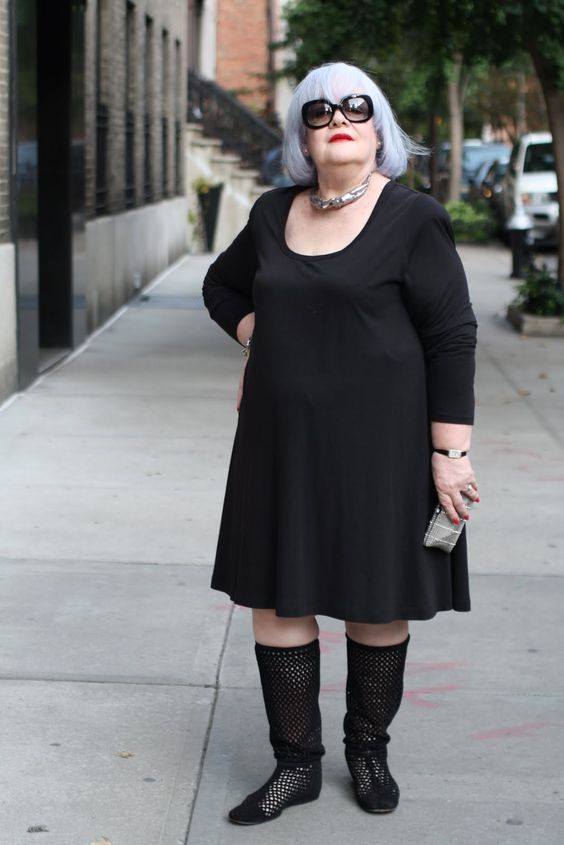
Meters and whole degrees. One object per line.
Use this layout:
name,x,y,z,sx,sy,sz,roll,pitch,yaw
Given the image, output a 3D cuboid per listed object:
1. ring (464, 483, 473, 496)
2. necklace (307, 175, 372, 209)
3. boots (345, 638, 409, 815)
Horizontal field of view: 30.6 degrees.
ring,0.396,0.144,2.205,0.019,0.024,0.008,-1,-3,-3
necklace,0.118,-0.492,2.202,0.130,0.076,0.090,4,10,12
boots,0.218,0.697,2.394,0.134,0.363,0.275,2,-6,-3
